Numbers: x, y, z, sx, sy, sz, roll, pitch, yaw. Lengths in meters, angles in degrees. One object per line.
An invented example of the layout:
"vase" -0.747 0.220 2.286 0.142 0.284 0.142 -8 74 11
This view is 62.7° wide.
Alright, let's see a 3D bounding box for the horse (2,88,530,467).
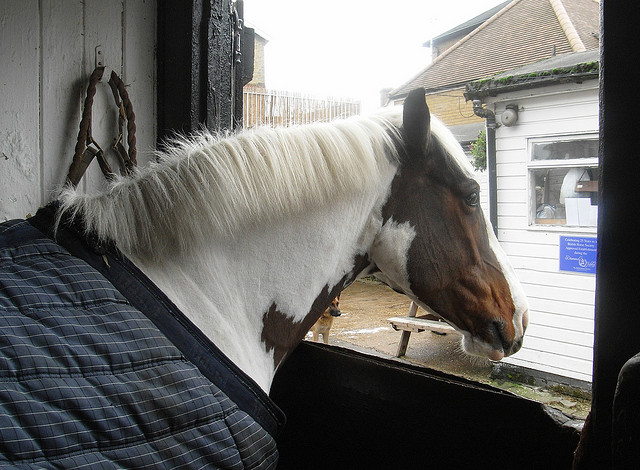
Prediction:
"horse" -0.125 0.070 1.417 1.277 0.907 0.489 -5 12 -27
